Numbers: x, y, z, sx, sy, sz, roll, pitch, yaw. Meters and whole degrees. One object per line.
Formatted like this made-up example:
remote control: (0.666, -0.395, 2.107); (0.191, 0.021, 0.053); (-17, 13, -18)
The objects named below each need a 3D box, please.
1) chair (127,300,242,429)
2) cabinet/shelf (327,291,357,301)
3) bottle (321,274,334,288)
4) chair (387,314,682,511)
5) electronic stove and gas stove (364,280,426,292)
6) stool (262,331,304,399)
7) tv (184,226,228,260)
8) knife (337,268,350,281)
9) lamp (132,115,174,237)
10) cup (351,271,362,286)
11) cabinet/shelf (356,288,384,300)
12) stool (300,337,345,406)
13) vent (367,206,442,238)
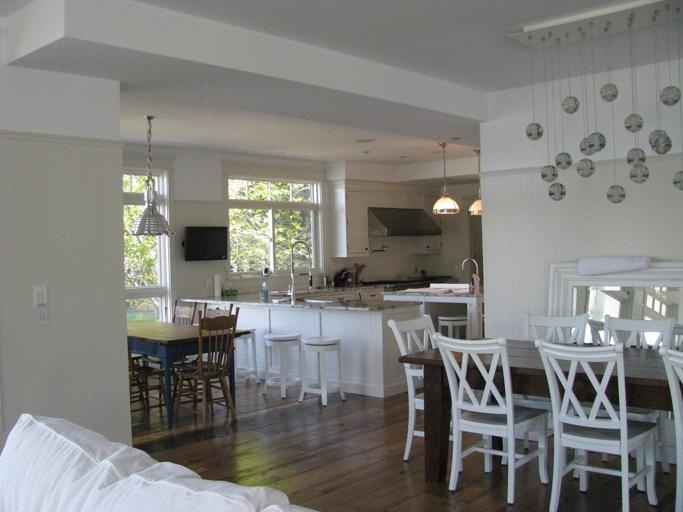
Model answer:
chair: (-1.687, 1.350, 6.188); (0.965, 0.856, 1.692); (1, -3, -41)
cabinet/shelf: (0.050, 0.606, 8.916); (0.130, 0.156, 0.619); (0, 3, 32)
bottle: (-0.229, 0.425, 9.961); (0.204, 0.289, 0.206); (0, 3, 0)
chair: (1.431, 1.111, 4.236); (1.771, 1.138, 0.938); (0, 3, 31)
electronic stove and gas stove: (0.951, 0.521, 10.549); (0.715, 0.133, 1.367); (0, 3, 41)
stool: (-0.702, 1.307, 6.924); (0.509, 0.697, 0.503); (-1, -3, -8)
tv: (-1.993, -0.196, 8.311); (0.483, 0.356, 0.047); (-1, 2, -43)
knife: (0.046, 0.295, 10.083); (0.188, 0.214, 0.146); (-4, 14, -25)
lamp: (-2.076, -0.854, 6.256); (0.409, 1.152, 0.370); (-8, 15, -36)
cup: (0.312, 0.387, 10.300); (0.135, 0.217, 0.431); (0, 3, 22)
cabinet/shelf: (0.460, 0.616, 9.385); (0.105, 0.219, 0.693); (1, 3, 37)
stool: (-0.200, 1.312, 6.558); (0.518, 0.698, 0.530); (0, -5, -15)
vent: (1.160, -0.654, 10.586); (0.595, 0.515, 1.494); (0, 3, 38)
